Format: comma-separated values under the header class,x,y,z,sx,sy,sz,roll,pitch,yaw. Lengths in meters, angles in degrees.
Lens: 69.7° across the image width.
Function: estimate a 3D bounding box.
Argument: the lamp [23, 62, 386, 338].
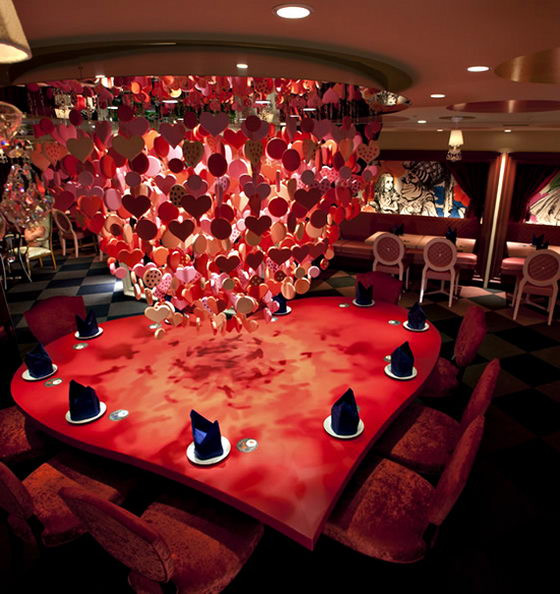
class,x,y,z,sx,sy,sz,roll,pitch,yaw
lamp,-0.228,-0.362,1.932,1.311,0.810,1.252,2,3,15
